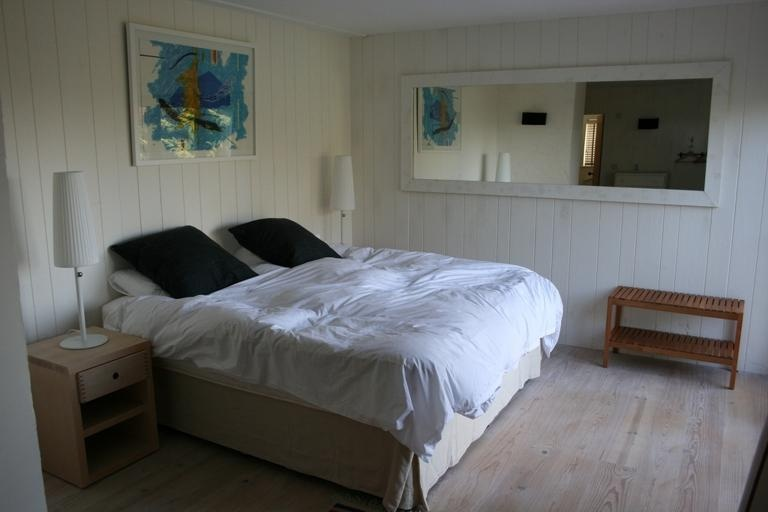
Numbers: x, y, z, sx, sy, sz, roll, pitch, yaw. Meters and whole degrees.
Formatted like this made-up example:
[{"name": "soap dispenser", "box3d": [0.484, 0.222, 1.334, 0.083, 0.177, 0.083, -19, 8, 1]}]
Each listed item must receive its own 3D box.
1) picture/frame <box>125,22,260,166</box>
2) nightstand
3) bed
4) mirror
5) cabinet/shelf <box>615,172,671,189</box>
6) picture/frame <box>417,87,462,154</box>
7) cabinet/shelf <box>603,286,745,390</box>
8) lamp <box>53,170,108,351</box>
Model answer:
[{"name": "picture/frame", "box3d": [-1.539, -1.256, 4.350, 1.096, 0.917, 0.027, 6, 14, 13]}, {"name": "nightstand", "box3d": [-1.780, 0.921, 3.321, 0.660, 0.760, 0.481, -10, 16, -35]}, {"name": "bed", "box3d": [-0.349, 0.615, 3.375, 1.861, 0.695, 1.879, 5, 11, 33]}, {"name": "mirror", "box3d": [1.536, -1.110, 4.933, 2.763, 1.253, 0.381, 3, 14, 19]}, {"name": "cabinet/shelf", "box3d": [2.247, -0.659, 4.682, 0.445, 0.146, 0.178, 1, 25, 26]}, {"name": "picture/frame", "box3d": [0.566, -1.375, 5.377, 0.635, 0.852, 0.060, 4, 13, 24]}, {"name": "cabinet/shelf", "box3d": [2.458, 0.693, 4.480, 0.691, 0.444, 0.274, 8, 25, 25]}, {"name": "lamp", "box3d": [-1.896, 0.025, 3.265, 0.281, 1.048, 0.317, -4, 13, -10]}]
